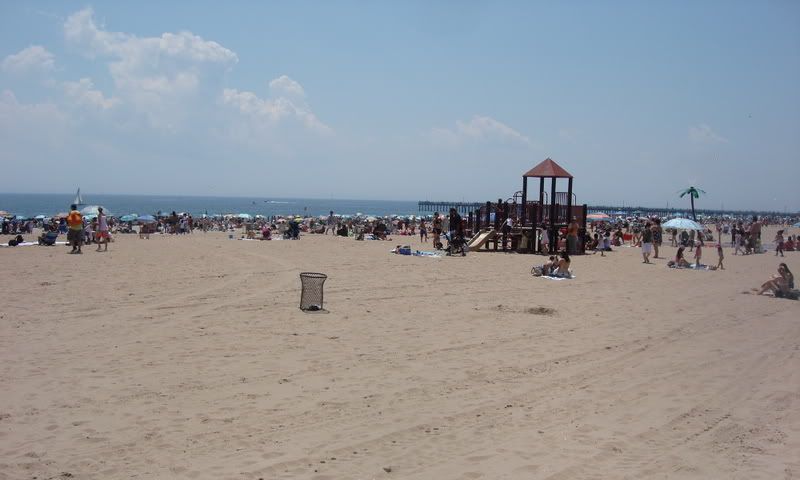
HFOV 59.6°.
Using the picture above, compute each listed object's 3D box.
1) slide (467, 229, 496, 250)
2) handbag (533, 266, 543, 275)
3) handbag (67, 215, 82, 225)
[{"bbox_3d":[3.416,0.016,29.785,1.242,0.893,1.267,2,-1,1],"label":"slide"},{"bbox_3d":[4.354,0.993,22.013,0.210,0.254,0.097,6,-20,30],"label":"handbag"},{"bbox_3d":[-11.272,-0.688,24.165,0.347,0.428,0.535,3,-1,-20],"label":"handbag"}]
